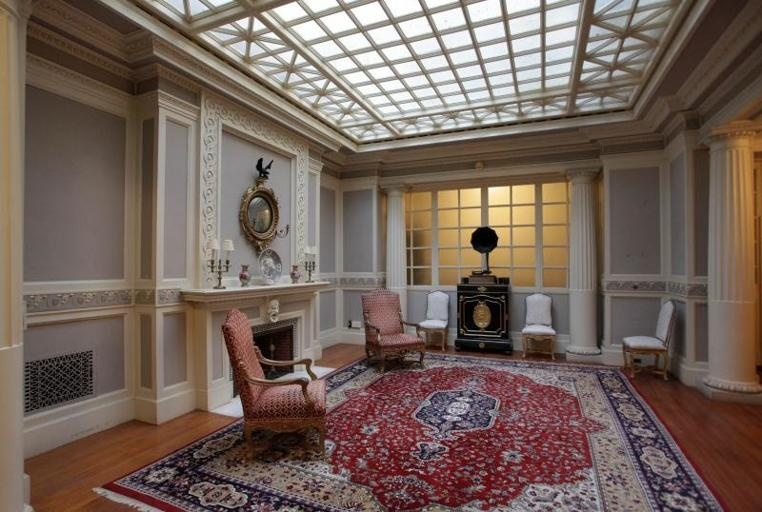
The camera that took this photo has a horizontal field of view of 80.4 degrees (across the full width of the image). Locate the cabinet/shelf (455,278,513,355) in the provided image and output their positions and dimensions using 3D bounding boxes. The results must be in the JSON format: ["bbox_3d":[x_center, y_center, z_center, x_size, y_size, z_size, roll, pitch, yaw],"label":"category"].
[{"bbox_3d":[1.993,1.220,9.533,1.251,1.430,0.904,3,-7,-6],"label":"cabinet/shelf"}]

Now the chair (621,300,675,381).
[{"bbox_3d":[4.508,1.375,7.624,0.816,1.212,0.780,0,-2,27],"label":"chair"}]

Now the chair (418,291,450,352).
[{"bbox_3d":[1.111,1.314,9.456,0.703,1.064,0.714,-1,5,24],"label":"chair"}]

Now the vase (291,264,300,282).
[{"bbox_3d":[-1.527,0.327,7.904,0.155,0.338,0.425,-2,10,-10],"label":"vase"}]

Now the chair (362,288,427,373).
[{"bbox_3d":[0.210,1.291,8.196,1.083,1.277,1.115,1,3,-12],"label":"chair"}]

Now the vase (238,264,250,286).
[{"bbox_3d":[-2.080,0.298,6.802,0.141,0.310,0.215,-4,10,-19],"label":"vase"}]

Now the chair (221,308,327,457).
[{"bbox_3d":[-1.621,1.539,6.134,1.713,1.955,1.518,0,-1,-4],"label":"chair"}]

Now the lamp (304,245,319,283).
[{"bbox_3d":[-1.322,0.129,8.447,0.254,0.703,0.862,-2,10,-9],"label":"lamp"}]

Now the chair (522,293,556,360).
[{"bbox_3d":[3.152,1.387,8.883,0.629,1.134,0.945,3,10,20],"label":"chair"}]

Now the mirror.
[{"bbox_3d":[-1.979,-0.787,7.258,0.245,1.498,0.730,3,11,20],"label":"mirror"}]
